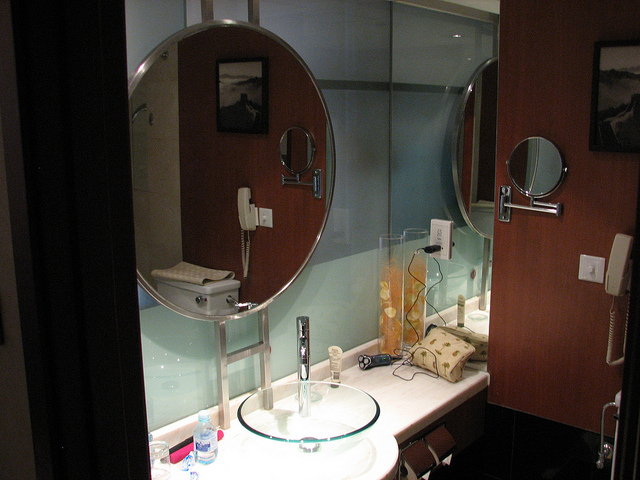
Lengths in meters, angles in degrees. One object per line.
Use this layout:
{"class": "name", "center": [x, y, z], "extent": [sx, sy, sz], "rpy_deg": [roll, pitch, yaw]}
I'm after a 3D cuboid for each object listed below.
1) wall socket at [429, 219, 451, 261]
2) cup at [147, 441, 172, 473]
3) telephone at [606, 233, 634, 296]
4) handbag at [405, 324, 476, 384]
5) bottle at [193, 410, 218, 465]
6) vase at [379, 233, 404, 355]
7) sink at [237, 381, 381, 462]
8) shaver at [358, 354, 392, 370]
{"class": "wall socket", "center": [0.534, -0.005, 2.400], "extent": [0.062, 0.174, 0.140], "rpy_deg": [-6, 11, -23]}
{"class": "cup", "center": [-0.474, 0.641, 1.555], "extent": [0.054, 0.080, 0.057], "rpy_deg": [-1, 10, 0]}
{"class": "telephone", "center": [1.048, 0.090, 1.822], "extent": [0.077, 0.216, 0.070], "rpy_deg": [-6, 11, -25]}
{"class": "handbag", "center": [0.503, 0.496, 2.232], "extent": [0.223, 0.072, 0.206], "rpy_deg": [25, 63, 39]}
{"class": "bottle", "center": [-0.359, 0.614, 1.640], "extent": [0.079, 0.156, 0.084], "rpy_deg": [1, 6, 0]}
{"class": "vase", "center": [0.313, 0.244, 2.308], "extent": [0.122, 0.528, 0.094], "rpy_deg": [-8, 12, -35]}
{"class": "sink", "center": [-0.034, 0.579, 1.685], "extent": [0.265, 0.100, 0.281], "rpy_deg": [1, 7, 6]}
{"class": "shaver", "center": [0.234, 0.502, 2.247], "extent": [0.103, 0.052, 0.063], "rpy_deg": [-11, 8, -14]}
